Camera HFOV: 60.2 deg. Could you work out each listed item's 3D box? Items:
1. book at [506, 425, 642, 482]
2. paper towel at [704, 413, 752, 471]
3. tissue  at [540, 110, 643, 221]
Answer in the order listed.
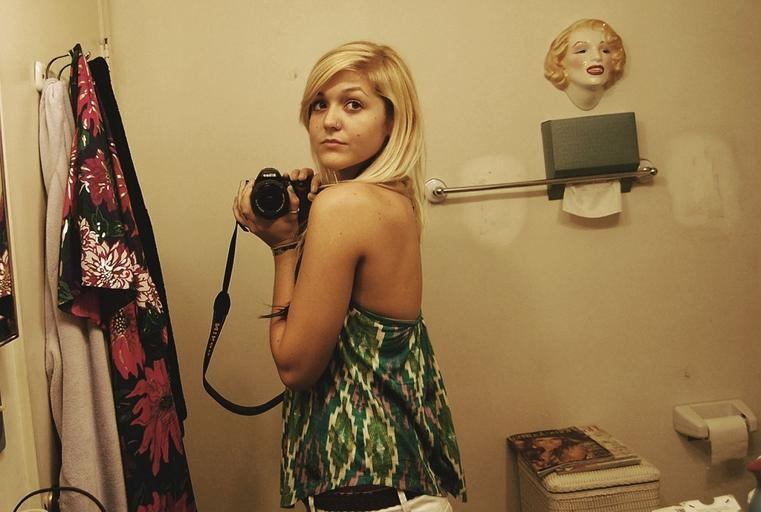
[{"bbox_3d":[0.752,0.769,2.576,0.446,0.133,0.260,0,0,-4],"label":"book"},{"bbox_3d":[1.396,0.731,2.673,0.172,0.171,0.146,-7,9,20],"label":"paper towel"},{"bbox_3d":[0.887,-0.404,2.667,0.304,0.296,0.169,-6,-32,13],"label":"tissue "}]
